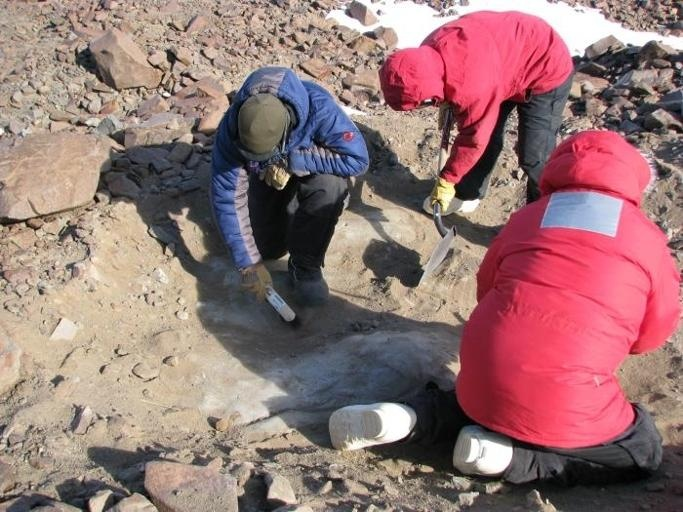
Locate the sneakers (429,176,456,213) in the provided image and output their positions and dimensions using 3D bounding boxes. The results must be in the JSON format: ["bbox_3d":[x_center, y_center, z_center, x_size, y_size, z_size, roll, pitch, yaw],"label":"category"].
[{"bbox_3d":[0.759,-0.430,4.868,0.167,0.110,0.243,22,82,7],"label":"sneakers"}]

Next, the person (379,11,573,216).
[{"bbox_3d":[0.988,-0.928,4.949,1.474,1.527,1.018,-14,41,-12],"label":"person"}]

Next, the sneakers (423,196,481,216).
[{"bbox_3d":[0.934,-0.399,5.498,0.395,0.131,0.221,3,3,-8],"label":"sneakers"}]

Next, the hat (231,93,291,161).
[{"bbox_3d":[-0.490,-0.768,4.124,0.323,0.399,0.249,23,7,0],"label":"hat"}]

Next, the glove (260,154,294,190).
[{"bbox_3d":[-0.443,-0.553,4.454,0.178,0.212,0.094,25,51,1],"label":"glove"}]
